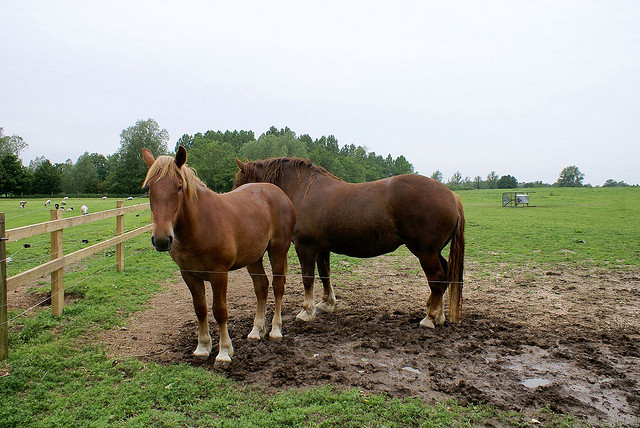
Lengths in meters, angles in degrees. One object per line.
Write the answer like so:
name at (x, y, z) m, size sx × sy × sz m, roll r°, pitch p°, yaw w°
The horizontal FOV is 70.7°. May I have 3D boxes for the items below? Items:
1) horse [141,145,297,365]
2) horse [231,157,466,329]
horse at (-1.827, 0.805, 8.594) m, size 1.363 × 3.814 × 4.305 m, roll 3°, pitch 3°, yaw 25°
horse at (0.512, 0.814, 9.739) m, size 3.745 × 2.616 × 1.172 m, roll 1°, pitch 4°, yaw 15°
